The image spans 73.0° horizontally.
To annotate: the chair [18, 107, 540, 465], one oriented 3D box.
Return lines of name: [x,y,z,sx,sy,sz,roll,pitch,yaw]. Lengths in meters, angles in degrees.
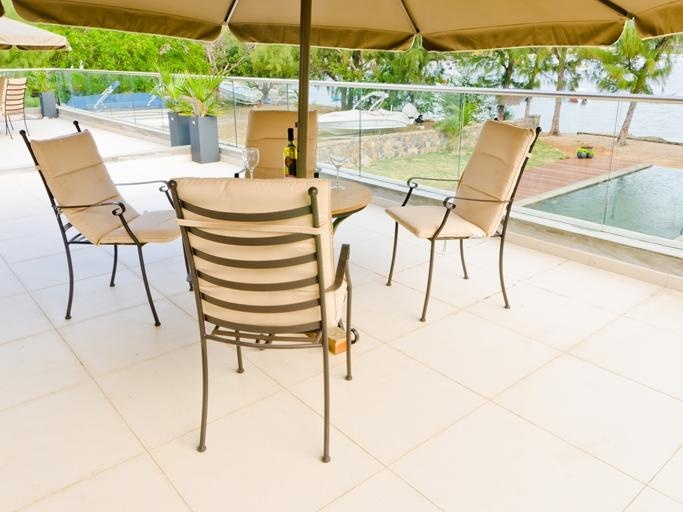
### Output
chair: [-0.581,-0.265,3.190,2.837,1.254,2.565,18,30,32]
